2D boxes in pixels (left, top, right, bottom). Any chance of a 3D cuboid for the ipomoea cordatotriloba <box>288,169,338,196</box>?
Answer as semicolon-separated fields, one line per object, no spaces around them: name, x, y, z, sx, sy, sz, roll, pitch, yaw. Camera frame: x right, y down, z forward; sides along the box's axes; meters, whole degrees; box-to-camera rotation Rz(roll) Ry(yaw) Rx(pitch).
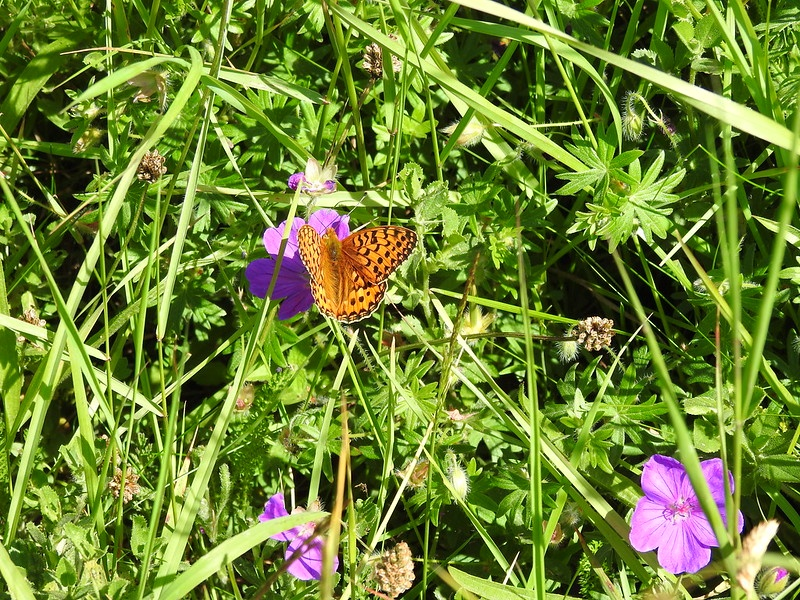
ipomoea cordatotriloba;-0.309;-0.427;2.699;0.123;0.050;0.133;-19;59;-37

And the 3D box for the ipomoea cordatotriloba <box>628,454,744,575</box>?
ipomoea cordatotriloba;0.867;0.700;2.386;0.332;0.404;0.125;-22;25;25
